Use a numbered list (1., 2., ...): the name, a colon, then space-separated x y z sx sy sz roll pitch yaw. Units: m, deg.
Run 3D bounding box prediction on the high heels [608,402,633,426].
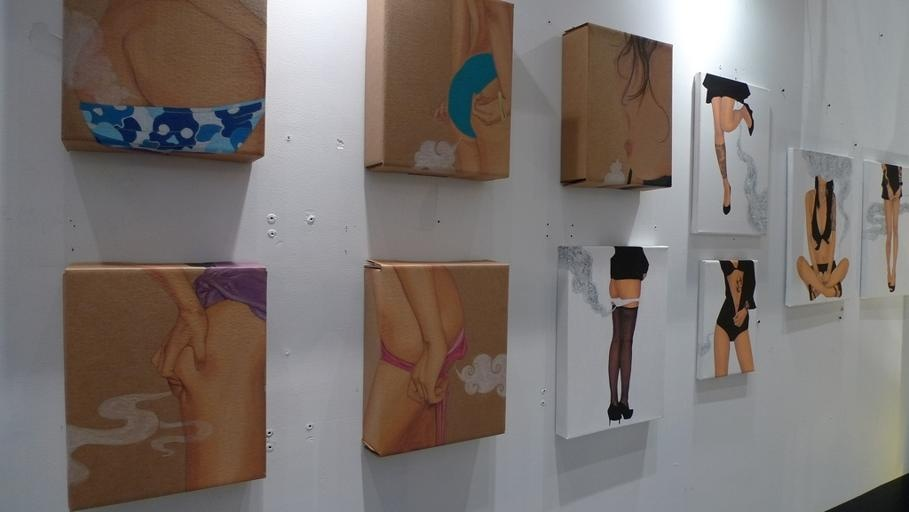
1. high heels: 0.643 0.619 3.016 0.044 0.057 0.132 2 4 43
